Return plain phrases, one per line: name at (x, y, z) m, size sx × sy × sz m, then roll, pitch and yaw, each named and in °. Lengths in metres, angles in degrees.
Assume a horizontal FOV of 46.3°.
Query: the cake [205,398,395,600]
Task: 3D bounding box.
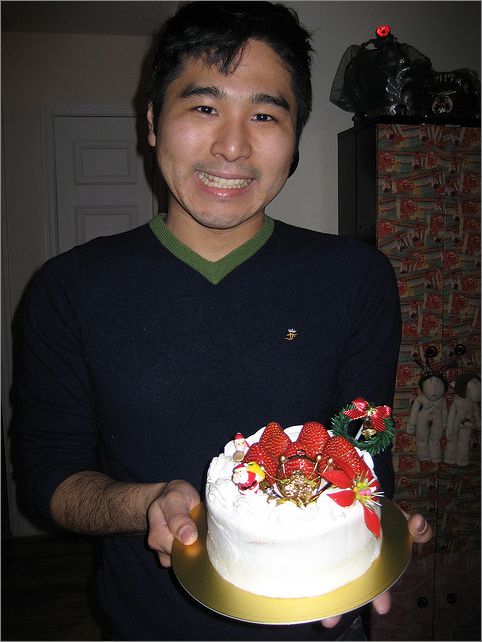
cake at (0.156, 0.298, 1.119) m, size 0.404 × 0.265 × 0.304 m, roll -5°, pitch 13°, yaw -22°
